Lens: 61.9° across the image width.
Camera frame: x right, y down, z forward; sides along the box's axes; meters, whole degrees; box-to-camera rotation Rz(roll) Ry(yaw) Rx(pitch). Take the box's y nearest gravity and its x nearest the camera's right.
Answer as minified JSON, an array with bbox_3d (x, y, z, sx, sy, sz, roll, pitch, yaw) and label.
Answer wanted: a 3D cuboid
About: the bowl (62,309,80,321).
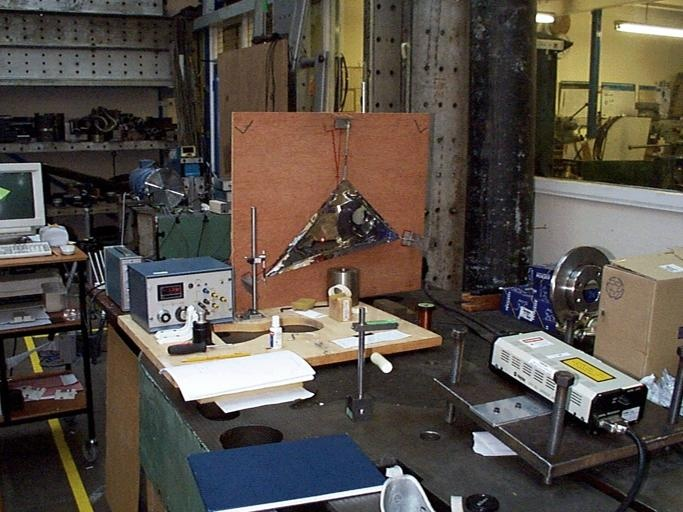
[{"bbox_3d":[-1.666,0.360,3.505,0.082,0.025,0.090,-1,16,-24],"label":"bowl"}]

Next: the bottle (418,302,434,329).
[{"bbox_3d":[0.423,0.297,2.875,0.077,0.124,0.206,0,11,9],"label":"bottle"}]

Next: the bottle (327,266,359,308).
[{"bbox_3d":[0.013,0.165,3.095,0.170,0.199,0.119,-4,13,-7],"label":"bottle"}]

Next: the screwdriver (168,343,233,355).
[{"bbox_3d":[-0.607,0.394,2.413,0.272,0.038,0.039,1,34,-19],"label":"screwdriver"}]

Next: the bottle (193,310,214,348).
[{"bbox_3d":[-0.602,0.311,2.477,0.075,0.156,0.184,-2,11,3],"label":"bottle"}]
